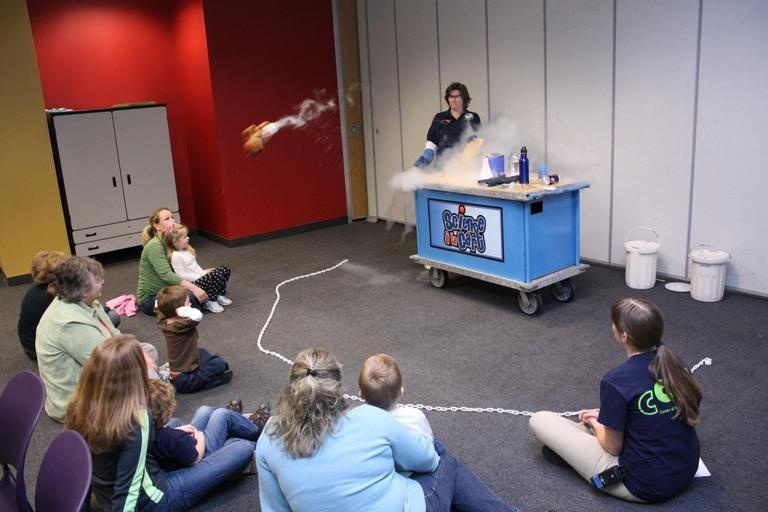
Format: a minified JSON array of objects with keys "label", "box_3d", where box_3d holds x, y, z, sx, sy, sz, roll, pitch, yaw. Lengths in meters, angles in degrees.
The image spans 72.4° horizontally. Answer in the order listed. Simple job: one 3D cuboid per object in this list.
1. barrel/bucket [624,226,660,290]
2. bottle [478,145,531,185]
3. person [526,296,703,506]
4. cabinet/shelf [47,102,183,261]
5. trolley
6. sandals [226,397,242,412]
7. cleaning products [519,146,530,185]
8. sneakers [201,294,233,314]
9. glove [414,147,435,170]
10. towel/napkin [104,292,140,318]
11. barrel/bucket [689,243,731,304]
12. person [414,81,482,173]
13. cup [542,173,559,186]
[{"label":"barrel/bucket","box_3d":[2.914,0.018,5.930,0.354,0.568,0.514,4,20,28]},{"label":"bottle","box_3d":[1.316,-0.959,5.611,0.508,0.397,0.390,-7,15,-11]},{"label":"person","box_3d":[1.424,0.883,3.587,0.900,1.296,1.217,-13,15,-14]},{"label":"cabinet/shelf","box_3d":[-3.928,-1.085,7.535,1.993,2.736,0.880,-7,8,-38]},{"label":"trolley","box_3d":[1.276,-0.218,6.197,1.091,1.359,1.960,-12,16,-30]},{"label":"sandals","box_3d":[-1.206,1.206,4.276,0.071,0.066,0.168,-7,2,-32]},{"label":"cleaning products","box_3d":[1.470,-0.950,5.507,0.108,0.373,0.191,0,18,16]},{"label":"sneakers","box_3d":[-1.929,0.559,6.131,0.174,0.078,0.221,7,17,13]},{"label":"glove","box_3d":[0.536,-1.241,6.608,0.128,0.124,0.525,10,34,31]},{"label":"towel/napkin","box_3d":[-3.070,0.584,6.233,0.303,0.104,0.315,-6,26,-31]},{"label":"barrel/bucket","box_3d":[3.405,0.171,5.512,0.364,0.575,0.390,-1,8,0]},{"label":"person","box_3d":[0.867,-1.700,6.582,0.646,0.869,0.236,-2,18,12]},{"label":"cup","box_3d":[1.741,-0.805,5.512,0.160,0.071,0.127,9,15,40]}]
